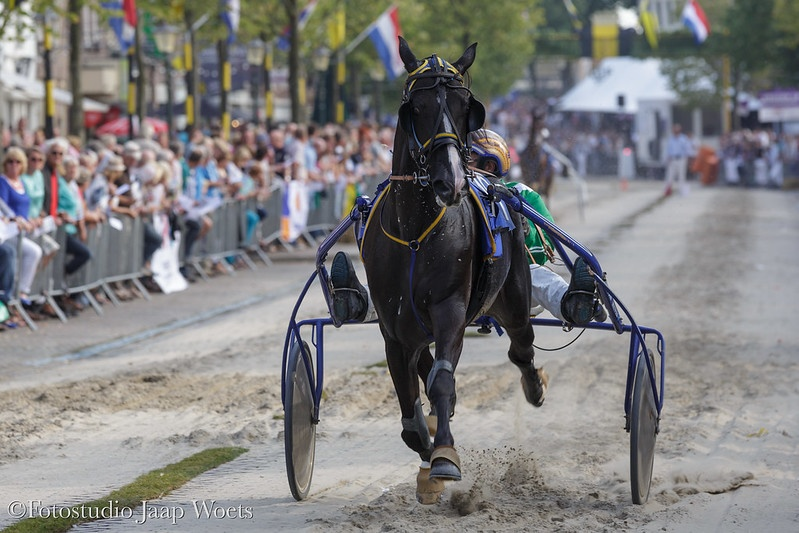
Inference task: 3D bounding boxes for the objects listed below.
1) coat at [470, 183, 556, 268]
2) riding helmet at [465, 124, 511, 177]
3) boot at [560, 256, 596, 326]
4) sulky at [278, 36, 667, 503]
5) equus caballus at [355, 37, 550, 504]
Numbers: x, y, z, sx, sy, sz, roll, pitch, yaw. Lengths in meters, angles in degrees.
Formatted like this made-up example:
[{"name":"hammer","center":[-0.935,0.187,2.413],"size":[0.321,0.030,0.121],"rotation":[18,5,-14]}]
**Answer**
[{"name":"coat","center":[1.111,-0.474,15.345],"size":[0.972,0.388,0.554],"rotation":[32,-6,-25]},{"name":"riding helmet","center":[0.805,-1.050,15.416],"size":[0.460,0.471,0.383],"rotation":[8,3,-6]},{"name":"boot","center":[1.610,0.264,14.811],"size":[0.232,0.702,0.281],"rotation":[8,-15,-20]},{"name":"sulky","center":[0.790,0.505,15.326],"size":[2.585,3.069,4.487],"rotation":[-1,-22,12]},{"name":"equus caballus","center":[0.405,0.025,14.412],"size":[1.057,4.123,1.586],"rotation":[3,9,37]}]
